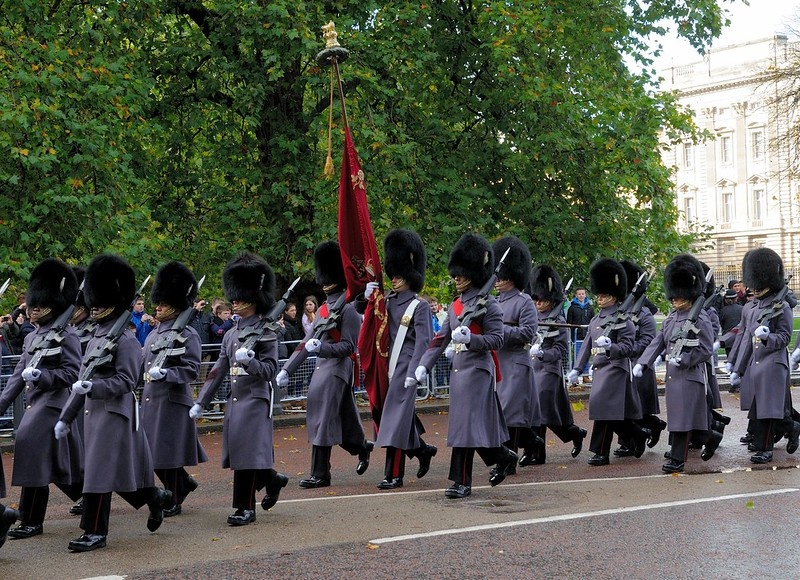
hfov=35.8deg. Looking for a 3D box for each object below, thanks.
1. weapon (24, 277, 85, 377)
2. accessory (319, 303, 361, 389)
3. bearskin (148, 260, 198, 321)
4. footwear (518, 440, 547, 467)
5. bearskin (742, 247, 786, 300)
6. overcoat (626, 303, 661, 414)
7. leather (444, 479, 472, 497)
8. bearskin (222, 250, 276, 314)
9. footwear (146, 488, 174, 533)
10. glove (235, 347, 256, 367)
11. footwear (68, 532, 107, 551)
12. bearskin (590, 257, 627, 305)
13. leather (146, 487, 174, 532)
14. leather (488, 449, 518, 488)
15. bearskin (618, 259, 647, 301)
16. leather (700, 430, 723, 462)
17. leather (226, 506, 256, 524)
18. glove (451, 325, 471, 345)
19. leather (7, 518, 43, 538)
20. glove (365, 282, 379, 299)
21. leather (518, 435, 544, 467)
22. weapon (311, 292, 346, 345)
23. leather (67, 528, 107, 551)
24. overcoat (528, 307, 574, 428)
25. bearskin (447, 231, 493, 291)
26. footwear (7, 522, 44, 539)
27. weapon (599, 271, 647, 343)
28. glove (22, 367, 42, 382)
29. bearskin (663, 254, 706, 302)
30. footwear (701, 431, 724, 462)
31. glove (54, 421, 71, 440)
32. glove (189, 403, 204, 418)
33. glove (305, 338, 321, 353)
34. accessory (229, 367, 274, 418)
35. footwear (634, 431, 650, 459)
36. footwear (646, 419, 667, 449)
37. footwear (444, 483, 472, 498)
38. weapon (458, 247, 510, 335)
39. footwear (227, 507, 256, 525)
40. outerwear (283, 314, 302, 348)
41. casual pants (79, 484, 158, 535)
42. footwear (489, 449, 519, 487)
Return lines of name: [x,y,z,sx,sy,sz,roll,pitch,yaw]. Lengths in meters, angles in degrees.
weapon: [-3.684,0.400,13.271,0.489,0.096,1.217,13,44,21]
accessory: [-0.738,0.641,14.682,0.445,1.012,0.113,-13,-32,-9]
bearskin: [-2.495,0.011,13.788,0.520,0.659,0.223,31,-3,6]
footwear: [1.679,2.080,15.709,0.188,0.196,0.530,-10,1,30]
bearskin: [4.834,-0.323,16.553,0.543,0.529,0.716,9,14,38]
overcoat: [3.162,0.959,16.255,0.699,1.564,0.289,-3,-13,13]
leather: [0.622,2.233,13.879,0.137,0.124,0.322,-16,-22,38]
bearskin: [-1.647,-0.081,13.523,0.598,0.649,0.267,8,-9,-1]
footwear: [-2.544,2.232,12.901,0.205,0.501,0.245,13,7,24]
glove: [-1.652,0.697,13.228,0.204,0.189,0.272,-3,6,-7]
footwear: [-3.116,2.528,12.432,0.359,0.125,0.154,7,-11,-33]
bearskin: [2.738,-0.145,16.403,0.490,0.441,0.617,1,-18,10]
leather: [-2.546,2.246,12.903,0.206,0.507,0.248,15,8,25]
leather: [1.121,2.032,14.259,0.227,0.215,0.588,18,31,25]
bearskin: [3.131,-0.140,16.941,0.421,0.477,0.197,14,11,21]
leather: [3.822,1.949,15.347,0.242,0.481,0.182,0,37,-8]
leather: [-1.658,2.383,13.125,0.353,0.126,0.124,2,-6,-4]
glove: [0.666,0.505,13.779,0.201,0.215,0.288,-2,6,2]
leather: [-3.878,2.493,12.879,0.135,0.116,0.314,-13,-19,37]
glove: [-0.346,-0.007,14.755,0.078,0.195,0.152,26,-12,15]
leather: [1.721,2.037,15.736,0.209,0.208,0.554,-12,11,37]
weapon: [-0.864,0.330,14.688,0.279,0.195,0.809,22,46,25]
leather: [-3.118,2.522,12.437,0.371,0.127,0.155,7,-13,-31]
overcoat: [1.826,0.929,16.197,0.798,1.748,0.666,1,11,19]
bearskin: [0.824,-0.343,14.410,0.551,0.560,0.675,7,-22,8]
footwear: [-3.873,2.498,12.861,0.315,0.116,0.131,13,-21,-42]
weapon: [2.874,0.253,16.228,0.442,1.122,0.081,30,-34,19]
glove: [-3.827,0.878,12.911,0.190,0.167,0.224,-4,6,-16]
bearskin: [3.550,-0.158,15.626,0.462,0.509,0.606,3,-48,13]
footwear: [3.806,1.961,15.359,0.243,0.481,0.182,0,37,-10]
glove: [-3.460,1.437,12.758,0.178,0.175,0.173,4,-12,-3]
glove: [-2.205,1.308,13.394,0.142,0.215,0.369,-3,6,-10]
glove: [-1.017,0.650,14.341,0.182,0.185,0.358,-2,6,-3]
accessory: [-1.598,1.067,13.560,0.666,0.428,0.473,-1,-3,-3]
footwear: [3.081,1.974,16.052,0.187,0.359,0.147,2,13,-3]
footwear: [3.385,1.917,16.580,0.198,0.402,0.148,16,10,-41]
footwear: [0.651,2.228,13.913,0.345,0.170,0.229,-3,6,-16]
weapon: [0.934,0.020,14.350,0.340,1.362,0.181,32,-36,15]
footwear: [-1.665,2.392,13.125,0.354,0.126,0.125,2,-7,-4]
outerwear: [-1.693,0.641,19.271,0.352,0.541,0.576,-3,1,10]
casual pants: [-3.029,2.317,12.874,0.326,0.469,0.913,12,-2,-2]
footwear: [1.139,2.036,14.269,0.220,0.215,0.578,20,32,30]
